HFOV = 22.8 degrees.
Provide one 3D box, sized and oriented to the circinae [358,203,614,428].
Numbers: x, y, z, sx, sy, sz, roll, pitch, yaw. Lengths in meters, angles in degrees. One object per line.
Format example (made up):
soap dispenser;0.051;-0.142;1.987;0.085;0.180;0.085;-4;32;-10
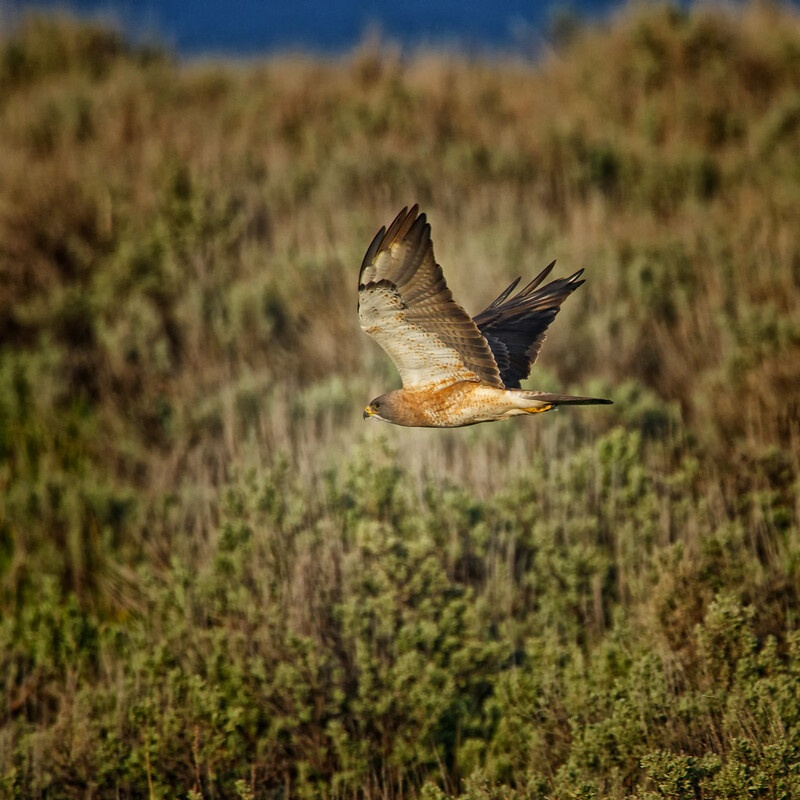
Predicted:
circinae;0.379;-0.305;9.572;1.319;1.915;0.895;-7;98;8
